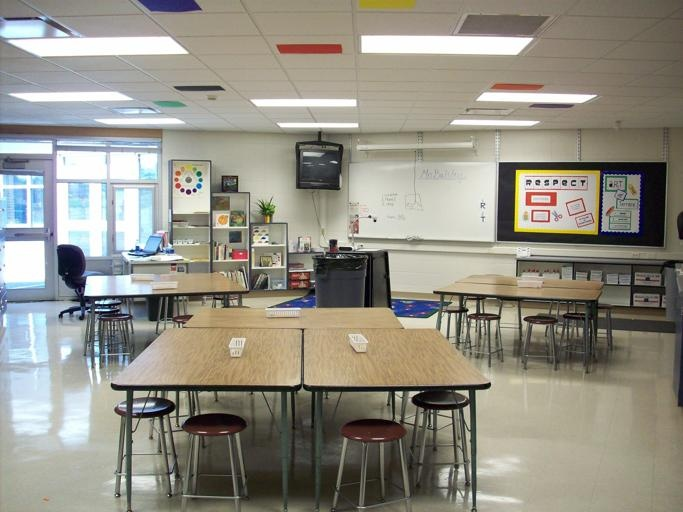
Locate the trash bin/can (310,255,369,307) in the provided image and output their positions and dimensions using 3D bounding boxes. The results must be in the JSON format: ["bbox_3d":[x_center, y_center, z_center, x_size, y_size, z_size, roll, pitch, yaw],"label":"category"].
[{"bbox_3d":[-0.088,0.300,6.549,0.765,0.626,0.642,0,-2,-5],"label":"trash bin/can"}]

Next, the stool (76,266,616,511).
[{"bbox_3d":[-0.336,1.196,4.378,2.518,1.036,1.633,1,10,-1],"label":"stool"}]

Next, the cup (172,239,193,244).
[{"bbox_3d":[-2.984,-0.263,10.007,0.365,0.109,0.138,-2,11,-20],"label":"cup"}]

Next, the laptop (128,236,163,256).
[{"bbox_3d":[-3.358,-0.162,9.149,0.447,0.287,0.553,7,-2,-44],"label":"laptop"}]

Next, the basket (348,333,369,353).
[{"bbox_3d":[0.152,0.730,4.259,0.116,0.059,0.252,-2,11,-8],"label":"basket"}]

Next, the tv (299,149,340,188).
[{"bbox_3d":[-0.452,-1.687,10.006,0.896,0.635,0.411,2,3,-7],"label":"tv"}]
